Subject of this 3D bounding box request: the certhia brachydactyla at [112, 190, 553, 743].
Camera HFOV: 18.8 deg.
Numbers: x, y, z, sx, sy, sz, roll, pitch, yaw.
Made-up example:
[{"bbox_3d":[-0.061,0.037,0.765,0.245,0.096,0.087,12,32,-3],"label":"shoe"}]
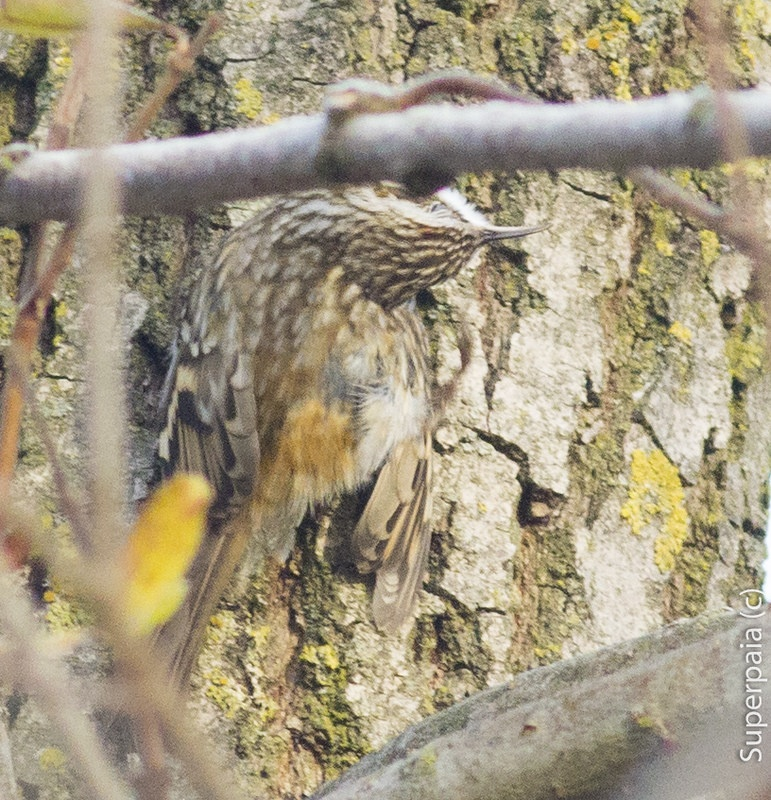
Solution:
[{"bbox_3d":[-0.093,0.020,4.920,0.578,0.478,1.448,21,80,42],"label":"certhia brachydactyla"}]
